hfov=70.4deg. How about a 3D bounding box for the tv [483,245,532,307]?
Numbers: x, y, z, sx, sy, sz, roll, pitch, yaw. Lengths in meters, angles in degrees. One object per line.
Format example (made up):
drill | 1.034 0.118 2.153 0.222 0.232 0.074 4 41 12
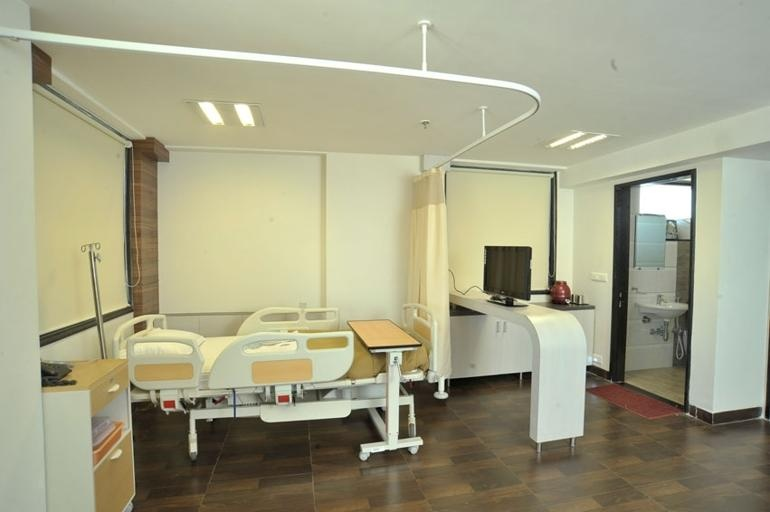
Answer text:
tv | 1.348 0.203 5.952 0.231 0.632 0.882 1 3 -20

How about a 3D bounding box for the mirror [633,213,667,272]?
mirror | 3.319 -0.163 6.952 0.443 0.700 0.438 1 2 15

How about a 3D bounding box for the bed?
bed | -1.097 1.018 5.416 2.485 1.118 1.496 1 -1 -12

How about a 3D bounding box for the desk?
desk | 0.043 1.386 5.802 0.684 1.046 1.448 0 -2 -3

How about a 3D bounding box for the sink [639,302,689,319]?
sink | 3.441 0.668 6.716 0.385 0.131 0.265 -1 7 -5

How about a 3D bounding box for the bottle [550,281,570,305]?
bottle | 2.214 0.488 7.146 0.288 0.317 0.283 0 -3 -2

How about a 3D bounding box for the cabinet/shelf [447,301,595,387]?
cabinet/shelf | 1.844 1.114 7.094 1.810 0.807 0.496 0 2 0
